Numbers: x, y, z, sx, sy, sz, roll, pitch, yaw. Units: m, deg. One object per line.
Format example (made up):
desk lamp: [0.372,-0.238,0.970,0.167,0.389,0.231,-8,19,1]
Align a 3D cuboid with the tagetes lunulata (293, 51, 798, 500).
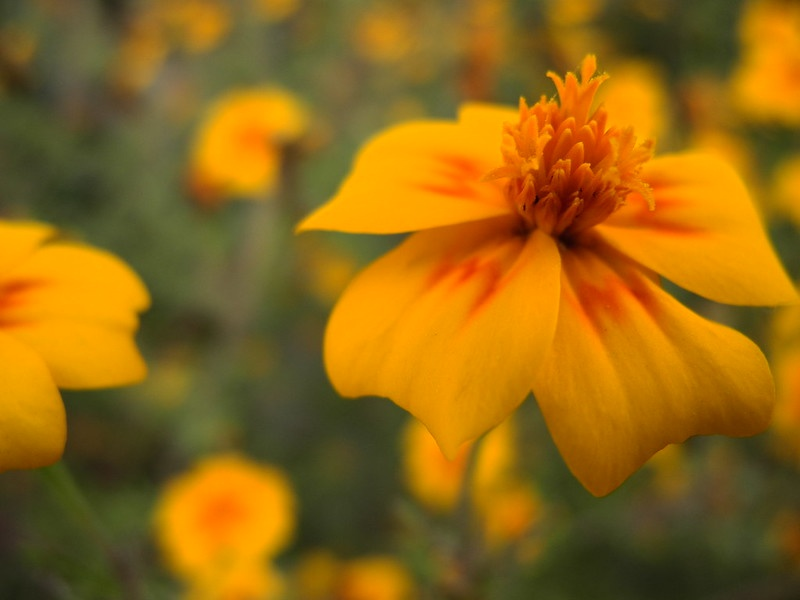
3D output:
tagetes lunulata: [0.186,-0.030,1.062,0.508,0.422,0.472,-25,-70,19]
